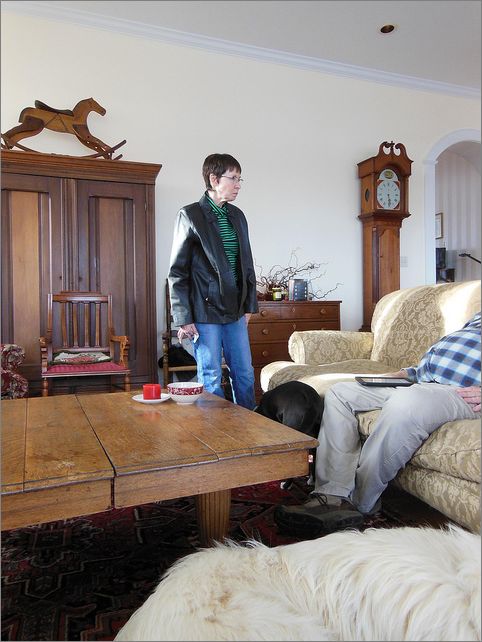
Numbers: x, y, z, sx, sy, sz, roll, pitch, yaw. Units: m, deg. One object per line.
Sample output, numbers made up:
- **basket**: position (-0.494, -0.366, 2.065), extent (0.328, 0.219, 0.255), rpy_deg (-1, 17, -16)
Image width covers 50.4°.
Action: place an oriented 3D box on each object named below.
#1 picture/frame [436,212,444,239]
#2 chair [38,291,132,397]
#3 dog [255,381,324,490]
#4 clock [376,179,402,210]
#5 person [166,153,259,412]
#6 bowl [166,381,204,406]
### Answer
- **picture/frame**: position (2.710, -1.294, 6.988), extent (0.049, 0.354, 0.146), rpy_deg (-7, 13, -14)
- **chair**: position (-0.915, 0.182, 3.002), extent (0.580, 0.642, 0.553), rpy_deg (4, 8, 9)
- **dog**: position (0.165, 0.374, 1.831), extent (0.162, 0.309, 0.505), rpy_deg (3, -20, -14)
- **clock**: position (1.257, -1.073, 4.313), extent (0.217, 0.252, 0.054), rpy_deg (-8, 13, -18)
- **person**: position (-0.098, -0.147, 2.207), extent (0.438, 1.117, 0.332), rpy_deg (-9, 14, -20)
- **bowl**: position (-0.175, 0.217, 1.550), extent (0.079, 0.039, 0.077), rpy_deg (-3, -1, 0)
